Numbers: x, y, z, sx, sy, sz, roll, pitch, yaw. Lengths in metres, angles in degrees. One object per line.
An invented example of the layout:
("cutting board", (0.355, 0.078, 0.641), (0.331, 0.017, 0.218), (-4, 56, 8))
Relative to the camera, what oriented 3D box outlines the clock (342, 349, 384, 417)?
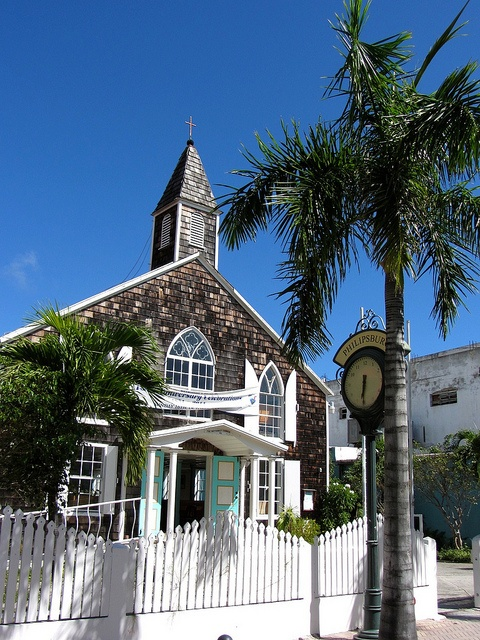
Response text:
("clock", (1.685, 0.861, 7.896), (0.198, 0.948, 0.910), (8, -19, -24))
